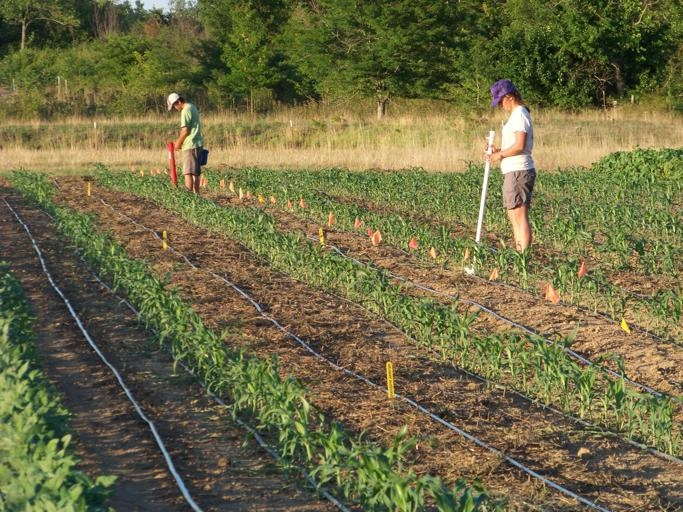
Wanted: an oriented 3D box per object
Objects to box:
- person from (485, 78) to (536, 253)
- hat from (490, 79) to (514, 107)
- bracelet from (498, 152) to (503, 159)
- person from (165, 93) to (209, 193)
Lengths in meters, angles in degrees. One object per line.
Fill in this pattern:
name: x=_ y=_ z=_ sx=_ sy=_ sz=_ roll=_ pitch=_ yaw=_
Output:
person: x=2.941 y=-1.441 z=19.411 sx=0.741 sy=3.048 sz=1.304 roll=1 pitch=13 yaw=8
hat: x=2.715 y=-2.756 z=19.337 sx=0.483 sy=0.466 sz=0.419 roll=-7 pitch=15 yaw=-24
bracelet: x=2.718 y=-1.700 z=19.277 sx=0.079 sy=0.114 sz=0.103 roll=1 pitch=14 yaw=9
person: x=-3.181 y=-2.316 z=23.619 sx=0.729 sy=2.137 sz=1.005 roll=-3 pitch=13 yaw=-9
